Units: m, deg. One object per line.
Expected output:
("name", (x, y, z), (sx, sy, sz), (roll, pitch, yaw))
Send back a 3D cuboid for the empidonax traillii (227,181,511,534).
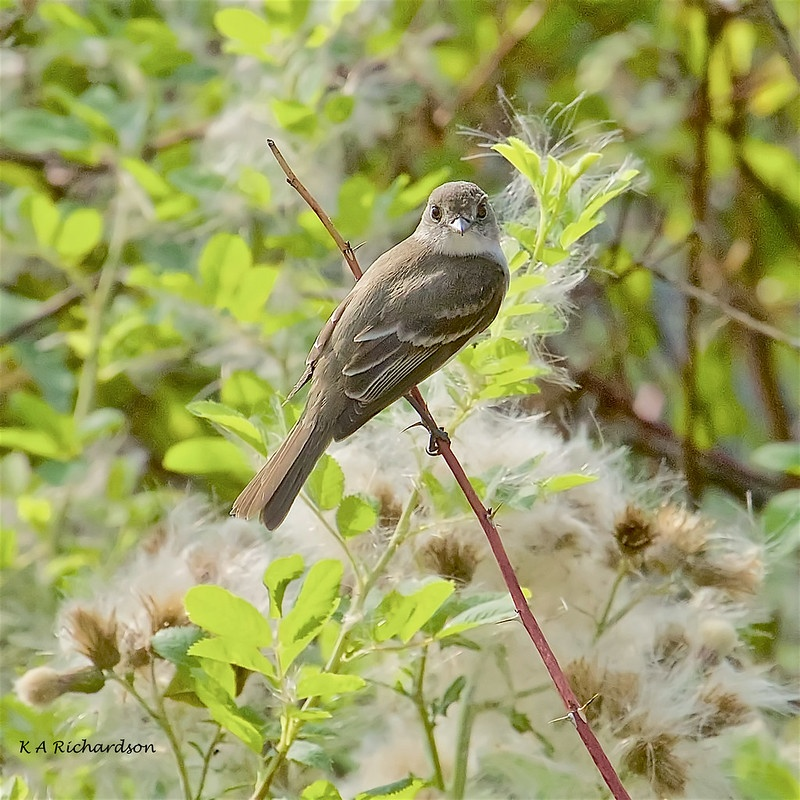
("empidonax traillii", (-0.017, -0.104, 2.109), (0.361, 0.643, 0.480), (15, 3, 3))
